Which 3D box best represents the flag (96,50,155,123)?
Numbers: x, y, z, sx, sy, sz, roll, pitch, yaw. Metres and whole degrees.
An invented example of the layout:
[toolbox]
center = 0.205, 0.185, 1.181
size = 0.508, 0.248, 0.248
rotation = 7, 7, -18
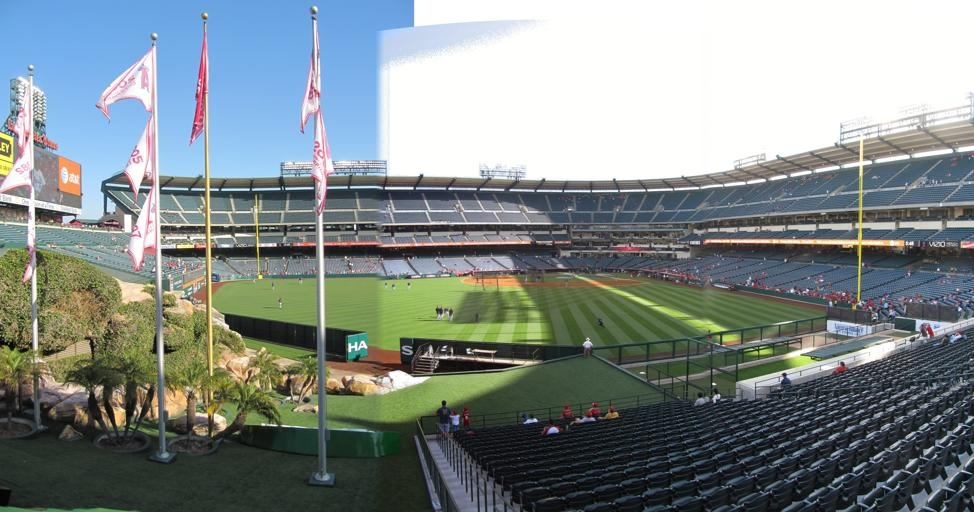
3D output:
[flag]
center = -19.342, -9.717, 36.428
size = 2.395, 3.219, 0.611
rotation = 0, -8, -15
